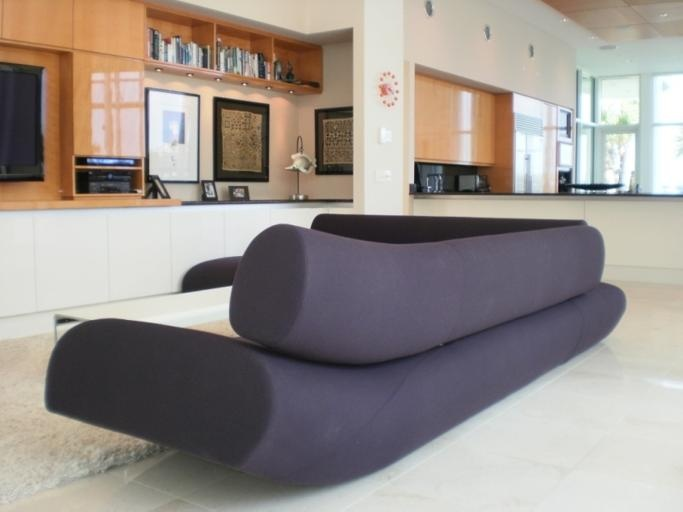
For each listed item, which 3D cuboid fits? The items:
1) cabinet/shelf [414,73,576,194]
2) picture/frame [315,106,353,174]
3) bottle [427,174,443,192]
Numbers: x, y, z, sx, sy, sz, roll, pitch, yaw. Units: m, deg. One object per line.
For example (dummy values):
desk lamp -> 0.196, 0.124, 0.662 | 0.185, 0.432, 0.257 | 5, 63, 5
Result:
cabinet/shelf -> 2.813, -2.070, 8.419 | 4.975, 1.866, 0.455 | -4, 6, -42
picture/frame -> -0.082, -1.664, 6.768 | 0.869, 1.094, 0.071 | 3, 5, 37
bottle -> 1.556, -1.180, 7.817 | 0.316, 0.360, 0.340 | 1, 0, 15
